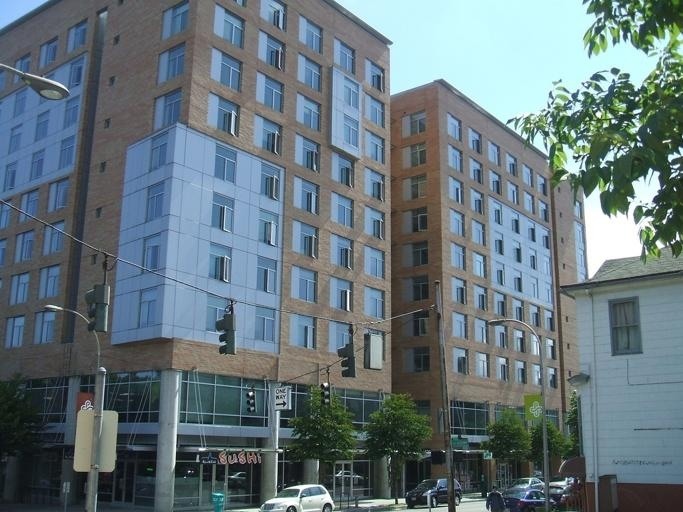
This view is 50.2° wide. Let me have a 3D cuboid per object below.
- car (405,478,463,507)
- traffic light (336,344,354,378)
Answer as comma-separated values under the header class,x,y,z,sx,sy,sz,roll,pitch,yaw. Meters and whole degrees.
class,x,y,z,sx,sy,sz,roll,pitch,yaw
car,5.988,16.812,51.892,1.738,1.986,3.509,-18,-25,35
traffic light,0.177,3.977,27.554,0.556,0.408,1.069,-8,-43,0
